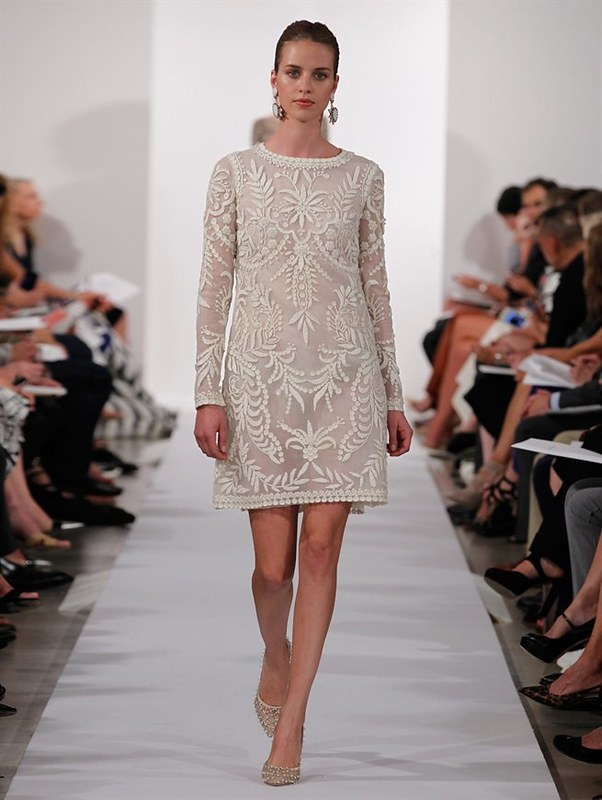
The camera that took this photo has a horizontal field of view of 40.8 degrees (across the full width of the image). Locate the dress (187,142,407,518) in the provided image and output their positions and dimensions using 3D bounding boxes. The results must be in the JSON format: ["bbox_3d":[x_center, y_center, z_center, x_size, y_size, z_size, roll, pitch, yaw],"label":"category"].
[{"bbox_3d":[0.007,-0.128,1.525,0.406,0.684,0.214,3,6,-2],"label":"dress"}]
